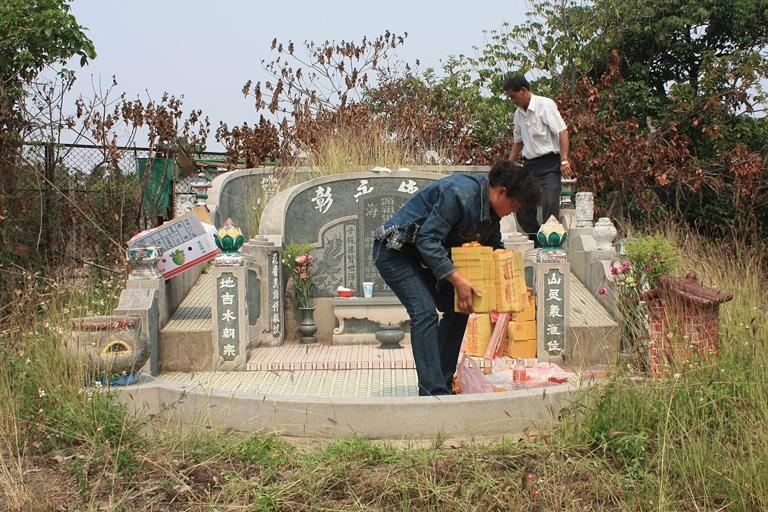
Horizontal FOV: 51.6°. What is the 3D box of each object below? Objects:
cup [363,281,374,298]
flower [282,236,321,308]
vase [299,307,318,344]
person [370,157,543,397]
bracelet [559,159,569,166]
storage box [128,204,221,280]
[{"bbox_3d":[-0.175,0.394,9.115,0.130,0.155,0.137,-1,1,0],"label":"cup"},{"bbox_3d":[-0.962,0.216,9.071,0.363,0.721,0.378,-3,1,19],"label":"flower"},{"bbox_3d":[-0.846,0.776,8.996,0.280,0.382,0.300,0,0,11],"label":"vase"},{"bbox_3d":[0.548,0.202,6.684,1.248,1.771,0.614,-3,1,-2],"label":"person"},{"bbox_3d":[2.031,-1.055,9.024,0.098,0.053,0.078,-3,0,32],"label":"bracelet"},{"bbox_3d":[-2.106,-0.176,8.353,0.785,0.407,0.823,-5,7,17],"label":"storage box"}]
